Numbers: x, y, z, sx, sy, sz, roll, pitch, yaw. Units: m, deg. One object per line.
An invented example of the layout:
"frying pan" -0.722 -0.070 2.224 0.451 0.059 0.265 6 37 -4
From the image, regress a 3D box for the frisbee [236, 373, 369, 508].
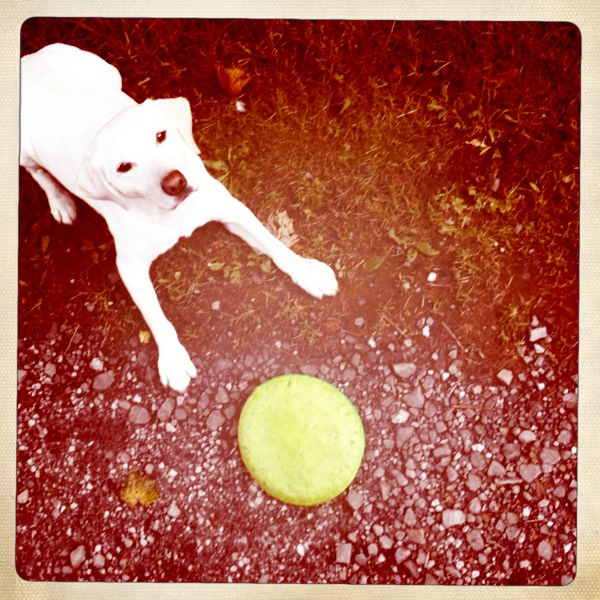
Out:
"frisbee" 0.002 0.329 1.349 0.302 0.060 0.286 19 76 1
